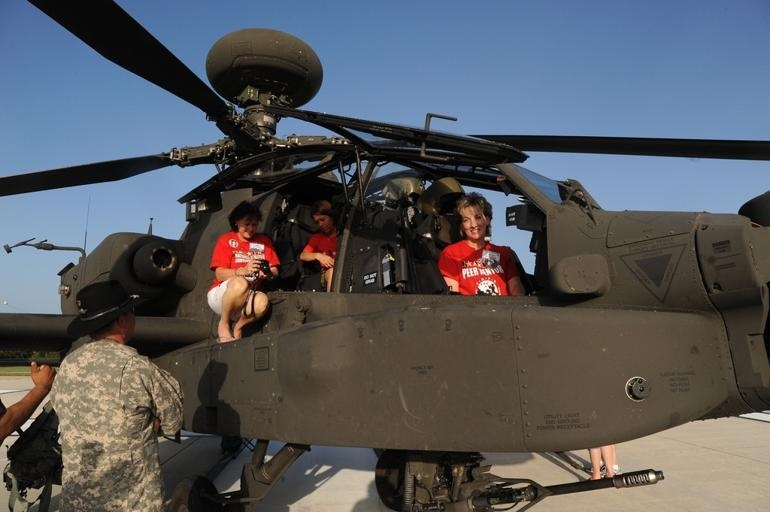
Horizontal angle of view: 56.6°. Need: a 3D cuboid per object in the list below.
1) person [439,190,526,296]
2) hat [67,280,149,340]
[{"bbox_3d":[1.036,-0.009,7.538,1.049,1.270,0.819,-4,-2,-14],"label":"person"},{"bbox_3d":[-2.527,0.466,6.577,0.504,0.220,0.575,-3,20,25],"label":"hat"}]
